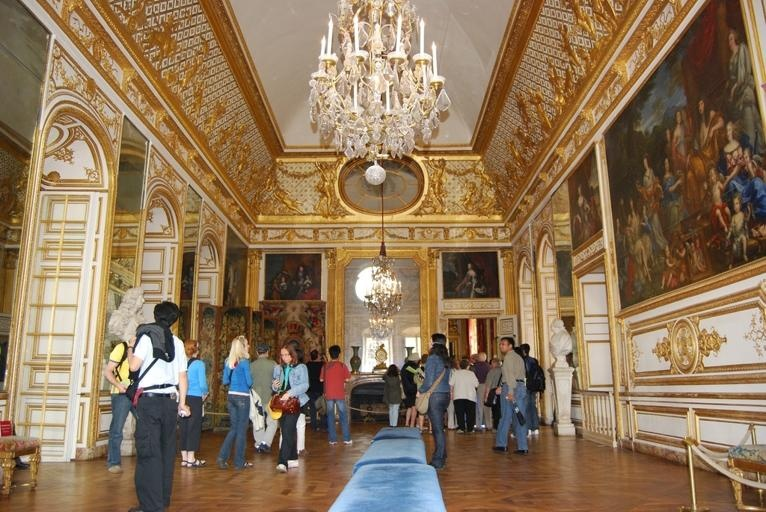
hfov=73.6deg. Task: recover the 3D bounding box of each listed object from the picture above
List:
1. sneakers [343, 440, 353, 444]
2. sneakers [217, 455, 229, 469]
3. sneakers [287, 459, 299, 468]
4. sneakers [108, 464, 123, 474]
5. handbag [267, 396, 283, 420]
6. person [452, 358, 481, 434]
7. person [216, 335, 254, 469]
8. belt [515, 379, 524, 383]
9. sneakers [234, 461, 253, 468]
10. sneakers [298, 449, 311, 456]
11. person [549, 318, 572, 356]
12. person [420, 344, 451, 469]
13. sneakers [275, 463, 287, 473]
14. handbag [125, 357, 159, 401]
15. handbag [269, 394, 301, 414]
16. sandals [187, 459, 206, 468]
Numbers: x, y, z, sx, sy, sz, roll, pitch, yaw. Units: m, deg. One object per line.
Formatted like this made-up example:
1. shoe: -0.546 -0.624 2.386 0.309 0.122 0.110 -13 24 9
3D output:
1. sneakers: -0.731 3.838 10.609 0.078 0.104 0.228 -1 -8 16
2. sneakers: -2.608 3.354 8.362 0.108 0.234 0.213 -4 8 -3
3. sneakers: -1.432 3.268 8.101 0.120 0.148 0.332 1 -21 -3
4. sneakers: -4.152 3.308 7.963 0.199 0.110 0.202 3 -14 -21
5. handbag: -1.696 2.352 7.975 0.107 0.327 0.300 -5 -13 44
6. person: 2.047 3.623 12.836 0.621 1.529 1.198 -4 -13 9
7. person: -2.483 2.432 8.683 0.521 2.138 0.859 2 -13 -16
8. belt: 2.417 2.206 9.046 0.247 0.071 0.046 9 -16 -39
9. sneakers: -2.260 3.416 8.395 0.267 0.118 0.098 3 -4 -19
10. sneakers: -1.472 3.641 9.498 0.181 0.093 0.284 -2 -5 4
11. person: 4.261 1.989 12.421 0.499 0.912 0.647 -4 3 16
12. person: 0.833 2.258 8.052 0.475 2.078 0.584 -3 -12 7
13. sneakers: -1.558 3.286 7.955 0.078 0.103 0.232 0 -29 -4
14. handbag: -2.729 1.405 5.745 0.180 0.552 0.305 21 -5 11
15. handbag: -1.507 2.274 7.895 0.321 0.322 0.140 0 -51 3
16. sandals: -3.152 3.513 8.679 0.228 0.084 0.125 1 -5 -20
